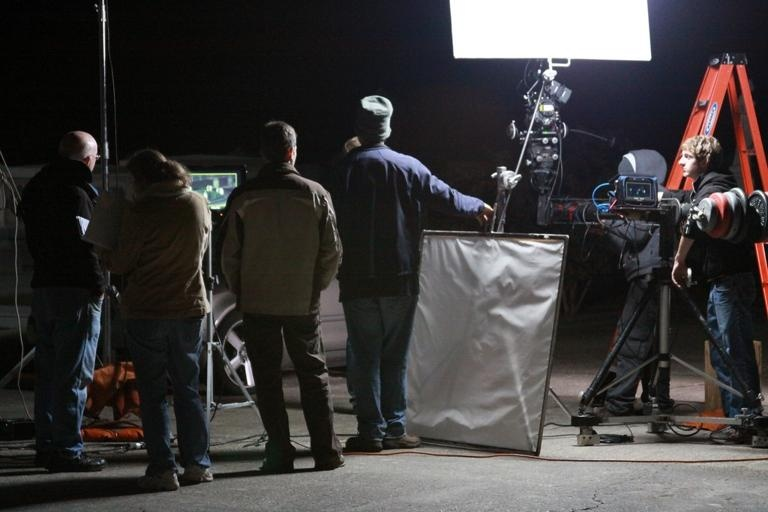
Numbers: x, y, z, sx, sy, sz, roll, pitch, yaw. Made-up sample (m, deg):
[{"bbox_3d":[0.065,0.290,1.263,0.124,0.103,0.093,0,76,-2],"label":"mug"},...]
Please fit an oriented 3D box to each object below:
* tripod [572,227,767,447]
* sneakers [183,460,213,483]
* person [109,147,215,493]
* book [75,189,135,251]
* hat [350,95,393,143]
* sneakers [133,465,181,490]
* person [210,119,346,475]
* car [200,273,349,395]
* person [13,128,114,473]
[{"bbox_3d":[2.727,0.791,8.323,1.770,1.666,1.226,-1,0,12],"label":"tripod"},{"bbox_3d":[-1.503,1.749,6.882,0.120,0.112,0.246,0,-4,12],"label":"sneakers"},{"bbox_3d":[-1.786,0.488,6.822,0.749,2.724,0.332,0,0,-13],"label":"person"},{"bbox_3d":[-2.244,-0.282,6.973,0.437,0.462,0.149,8,-3,26],"label":"book"},{"bbox_3d":[-0.089,-1.296,7.981,0.351,0.396,0.410,-5,21,-19],"label":"hat"},{"bbox_3d":[-1.819,1.771,6.766,0.343,0.178,0.143,1,-3,27],"label":"sneakers"},{"bbox_3d":[-0.860,0.329,7.120,1.003,2.954,0.243,0,0,-7],"label":"person"},{"bbox_3d":[-1.240,0.944,10.611,2.001,1.051,0.998,-7,1,-31],"label":"car"},{"bbox_3d":[-2.772,0.361,7.342,0.700,2.925,0.447,0,0,-9],"label":"person"}]
